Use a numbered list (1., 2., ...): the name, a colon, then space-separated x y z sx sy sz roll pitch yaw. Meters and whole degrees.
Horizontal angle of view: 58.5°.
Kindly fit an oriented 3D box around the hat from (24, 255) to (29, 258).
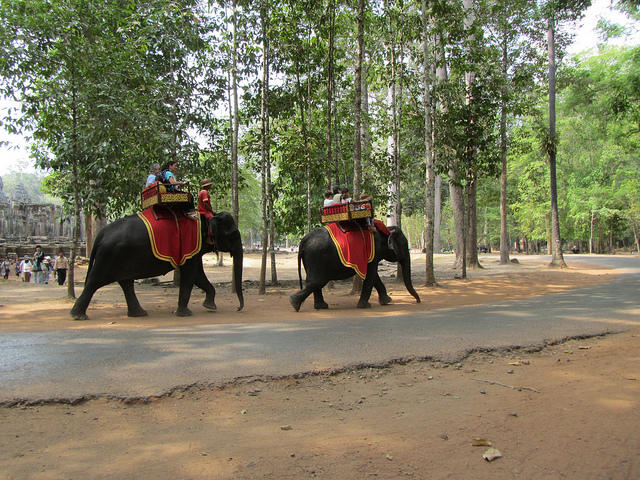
1. hat: -15.031 0.841 29.362 0.257 0.076 0.254 0 3 -14

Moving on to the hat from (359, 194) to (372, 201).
1. hat: 1.208 -1.116 14.994 0.238 0.130 0.333 -1 1 6

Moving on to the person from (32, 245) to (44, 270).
1. person: -11.912 0.790 24.358 0.347 1.250 1.157 -7 15 -27

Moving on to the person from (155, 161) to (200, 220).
1. person: -3.146 -1.112 12.753 0.929 1.235 0.560 -1 2 -22

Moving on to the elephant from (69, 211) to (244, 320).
1. elephant: -3.610 0.599 12.794 3.768 2.361 1.331 -6 15 -25

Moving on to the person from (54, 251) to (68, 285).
1. person: -10.028 1.170 22.318 0.385 1.392 1.313 -6 15 -26

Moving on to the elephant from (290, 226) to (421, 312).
1. elephant: 0.996 0.681 14.601 3.883 2.168 1.548 -1 2 -23

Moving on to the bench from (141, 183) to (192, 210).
1. bench: -3.312 -0.979 12.525 0.604 0.402 0.813 -2 3 -34

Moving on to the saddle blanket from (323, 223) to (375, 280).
1. saddle blanket: 0.765 0.225 13.862 1.162 1.145 0.910 1 14 2
